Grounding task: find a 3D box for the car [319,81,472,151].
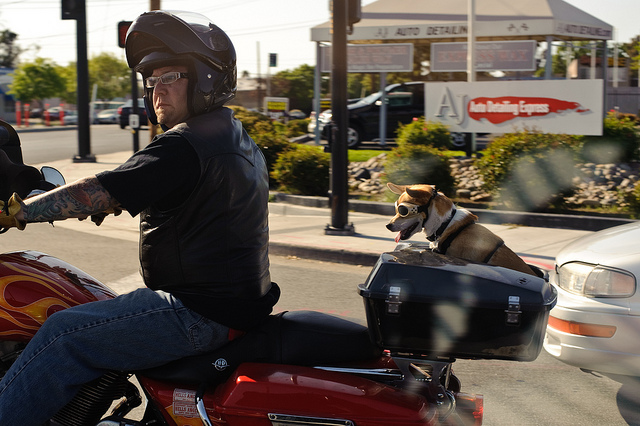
[{"bbox_3d":[1.829,-3.137,22.028,5.212,1.949,2.005,-6,36,-33],"label":"car"}]
